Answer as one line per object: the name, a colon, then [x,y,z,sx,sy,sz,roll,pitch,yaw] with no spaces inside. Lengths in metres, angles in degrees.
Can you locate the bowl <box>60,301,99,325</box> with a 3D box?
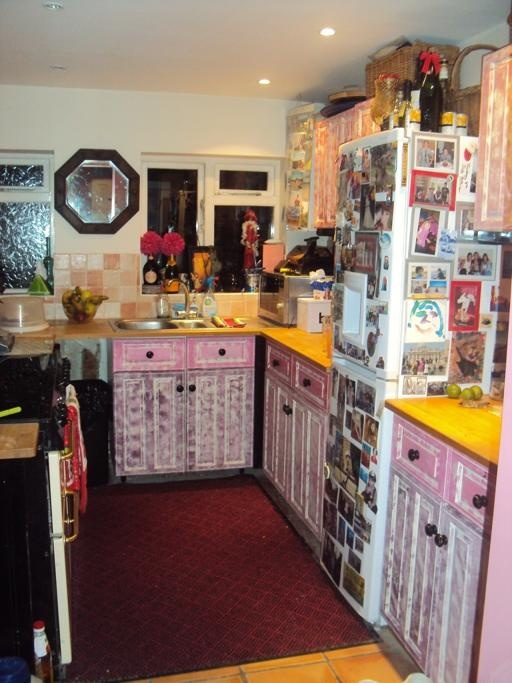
bowl: [-1.138,-0.190,3.329,0.153,0.107,0.138,-5,12,-22]

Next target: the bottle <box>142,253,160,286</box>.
bottle: [-0.750,-0.498,3.703,0.116,0.214,0.128,-1,6,-22]

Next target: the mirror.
mirror: [-1.106,-1.034,3.492,0.541,0.578,0.060,-1,7,-20]

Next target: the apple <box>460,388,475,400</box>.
apple: [0.712,0.179,1.727,0.034,0.043,0.035,-14,18,-38]

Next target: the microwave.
microwave: [0.220,-0.288,3.516,0.299,0.333,0.522,-1,11,-18]

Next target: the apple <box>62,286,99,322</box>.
apple: [-1.115,-0.257,3.341,0.229,0.203,0.204,7,13,22]

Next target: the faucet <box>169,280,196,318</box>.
faucet: [-0.519,-0.285,3.564,0.138,0.268,0.258,-1,4,-34]

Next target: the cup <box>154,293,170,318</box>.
cup: [-0.633,-0.236,3.503,0.104,0.168,0.084,0,5,-13]

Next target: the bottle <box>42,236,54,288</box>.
bottle: [-1.443,-0.529,3.564,0.061,0.377,0.098,-1,6,-24]

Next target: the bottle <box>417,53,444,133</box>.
bottle: [0.682,-0.966,2.022,0.100,0.266,0.175,3,6,19]

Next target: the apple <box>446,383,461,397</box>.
apple: [0.675,0.172,1.755,0.041,0.051,0.043,-11,18,-22]

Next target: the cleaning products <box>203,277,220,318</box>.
cleaning products: [-0.333,-0.304,3.600,0.091,0.282,0.268,0,5,-6]

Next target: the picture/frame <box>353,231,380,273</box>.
picture/frame: [0.390,-0.308,1.817,0.015,0.152,0.170,-6,15,-27]
